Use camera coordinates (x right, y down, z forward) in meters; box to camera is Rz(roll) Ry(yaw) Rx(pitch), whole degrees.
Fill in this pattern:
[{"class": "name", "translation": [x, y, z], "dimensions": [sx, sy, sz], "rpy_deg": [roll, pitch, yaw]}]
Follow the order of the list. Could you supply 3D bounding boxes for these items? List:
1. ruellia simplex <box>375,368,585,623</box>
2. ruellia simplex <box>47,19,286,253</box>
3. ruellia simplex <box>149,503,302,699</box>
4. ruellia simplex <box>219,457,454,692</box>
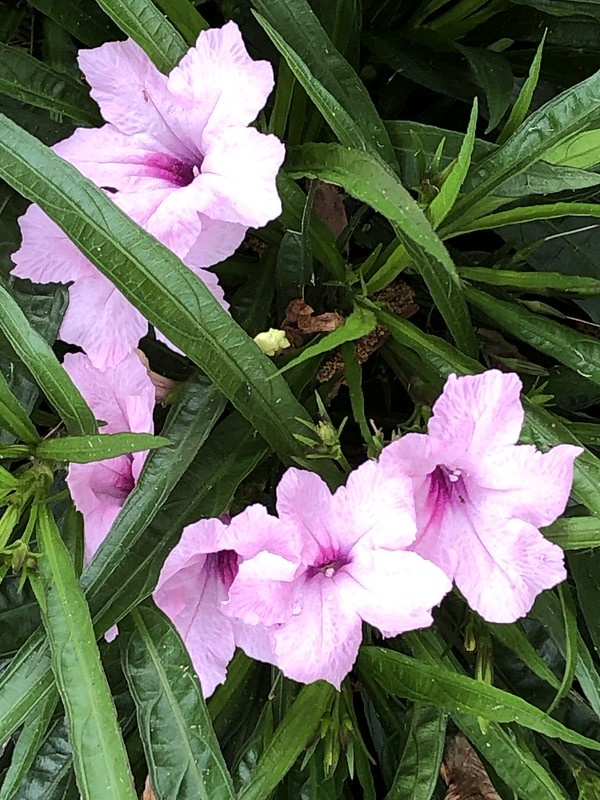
[{"class": "ruellia simplex", "translation": [0.155, 0.088, 0.753], "dimensions": [0.238, 0.215, 0.108], "rpy_deg": [-39, 4, 21]}, {"class": "ruellia simplex", "translation": [-0.098, -0.203, 0.703], "dimensions": [0.228, 0.087, 0.221], "rpy_deg": [23, 99, 16]}, {"class": "ruellia simplex", "translation": [-0.072, 0.171, 0.742], "dimensions": [0.085, 0.202, 0.185], "rpy_deg": [-3, 74, 36]}, {"class": "ruellia simplex", "translation": [0.029, 0.148, 0.623], "dimensions": [0.190, 0.166, 0.124], "rpy_deg": [-26, 48, 4]}]
